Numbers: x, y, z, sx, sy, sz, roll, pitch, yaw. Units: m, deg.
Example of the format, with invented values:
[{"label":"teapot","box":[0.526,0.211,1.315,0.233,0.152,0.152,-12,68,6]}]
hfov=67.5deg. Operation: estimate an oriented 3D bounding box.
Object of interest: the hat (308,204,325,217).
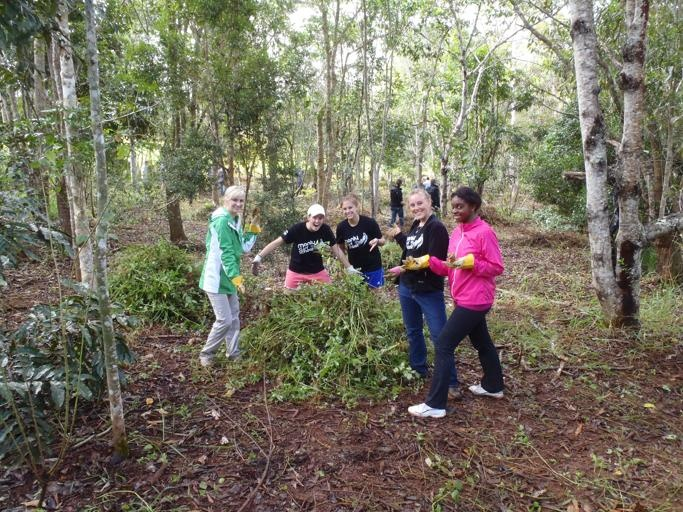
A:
[{"label":"hat","box":[-0.362,-0.660,7.280,0.184,0.148,0.260,11,-6,-9]}]

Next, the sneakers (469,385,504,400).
[{"label":"sneakers","box":[1.707,1.570,6.051,0.347,0.160,0.160,7,5,27]}]

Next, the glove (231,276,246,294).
[{"label":"glove","box":[-1.268,0.360,6.437,0.151,0.219,0.091,-7,30,31]}]

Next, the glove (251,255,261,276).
[{"label":"glove","box":[-1.441,0.196,8.634,0.129,0.374,0.124,5,-17,19]}]

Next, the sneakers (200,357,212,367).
[{"label":"sneakers","box":[-1.750,1.379,6.609,0.103,0.048,0.124,8,-1,-10]}]

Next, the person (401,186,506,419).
[{"label":"person","box":[1.344,0.510,5.793,1.109,2.556,0.615,0,8,-1]}]

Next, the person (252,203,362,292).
[{"label":"person","box":[-0.514,-0.117,7.372,1.234,1.212,0.481,0,8,0]}]

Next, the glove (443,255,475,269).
[{"label":"glove","box":[1.292,0.083,5.603,0.238,0.161,0.115,0,1,1]}]

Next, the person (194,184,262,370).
[{"label":"person","box":[-1.521,0.250,6.681,0.715,2.294,0.856,-2,8,-10]}]

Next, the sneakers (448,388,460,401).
[{"label":"sneakers","box":[1.332,1.644,6.040,0.133,0.134,0.103,-2,-2,28]}]

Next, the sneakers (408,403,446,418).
[{"label":"sneakers","box":[0.937,1.744,5.700,0.414,0.203,0.164,5,-4,1]}]
